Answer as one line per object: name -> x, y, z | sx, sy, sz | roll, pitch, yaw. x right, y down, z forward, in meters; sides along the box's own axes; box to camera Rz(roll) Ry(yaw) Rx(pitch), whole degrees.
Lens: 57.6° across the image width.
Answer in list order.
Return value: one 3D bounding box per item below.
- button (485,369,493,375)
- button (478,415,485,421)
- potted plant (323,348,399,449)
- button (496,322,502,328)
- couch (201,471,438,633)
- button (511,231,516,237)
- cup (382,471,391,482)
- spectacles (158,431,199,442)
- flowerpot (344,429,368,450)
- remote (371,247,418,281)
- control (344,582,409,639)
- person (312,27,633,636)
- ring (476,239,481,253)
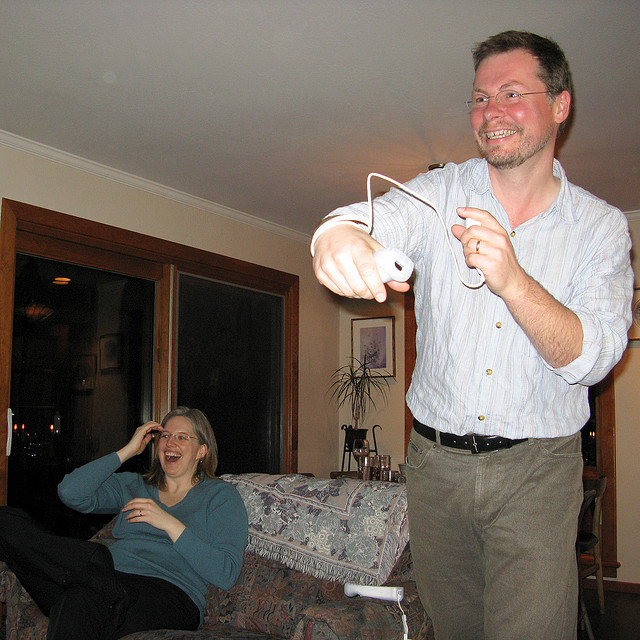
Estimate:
button -> 0.311, 0.096, 1.073 | 0.009, 0.009, 0.005 | 29, -8, 0
button -> 0.294, 0.180, 1.067 | 0.009, 0.009, 0.004 | 7, -1, 18
potted plant -> 0.338, 0.805, 5.469 | 0.543, 0.725, 0.531 | -1, 0, -39
button -> 0.330, 0.010, 1.081 | 0.009, 0.009, 0.003 | -3, -8, 11
couch -> -0.021, 0.827, 2.029 | 0.773, 0.496, 0.411 | -12, -33, 30
button -> 0.366, -0.162, 1.108 | 0.008, 0.011, 0.003 | -4, -8, 29
cup -> 0.397, 0.944, 3.519 | 0.059, 0.053, 0.045 | 0, -10, 3
spectacles -> -0.673, 0.556, 2.778 | 0.185, 0.045, 0.101 | 2, -7, -13
flowerpot -> 0.309, 1.028, 5.184 | 0.244, 0.177, 0.239 | 0, -4, 7
remote -> 0.107, -0.084, 0.874 | 0.047, 0.043, 0.079 | -41, 22, -8
control -> 0.127, 0.645, 1.343 | 0.132, 0.108, 0.216 | 0, -7, 5
person -> 0.288, 0.006, 1.018 | 0.454, 1.213, 0.518 | -3, -8, 25
ring -> 0.224, -0.105, 0.830 | 0.006, 0.019, 0.003 | -1, -7, 8
